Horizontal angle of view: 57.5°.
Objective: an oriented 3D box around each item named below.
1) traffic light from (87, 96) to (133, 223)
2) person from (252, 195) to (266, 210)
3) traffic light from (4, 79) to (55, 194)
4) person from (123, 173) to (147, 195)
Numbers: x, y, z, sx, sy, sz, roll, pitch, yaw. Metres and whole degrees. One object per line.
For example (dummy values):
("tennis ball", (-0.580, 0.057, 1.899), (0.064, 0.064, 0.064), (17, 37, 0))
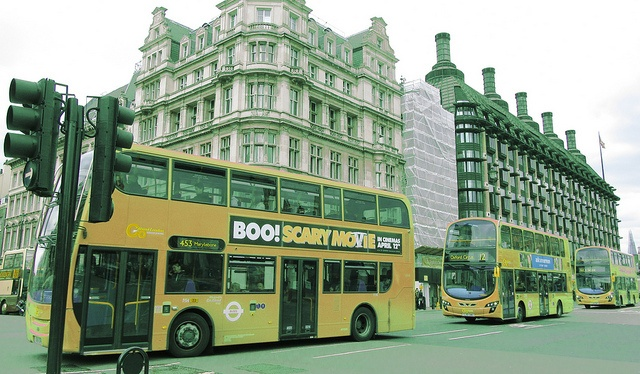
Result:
("traffic light", (-6.061, -0.817, 16.924), (1.021, 3.676, 0.454), (3, -7, -21))
("person", (-2.543, 0.672, 24.168), (0.528, 0.887, 0.506), (1, -5, -10))
("traffic light", (-8.103, -1.421, 16.423), (1.343, 3.271, 0.656), (2, -6, -14))
("person", (-7.094, -0.080, 22.143), (0.809, 0.692, 0.180), (9, -9, -29))
